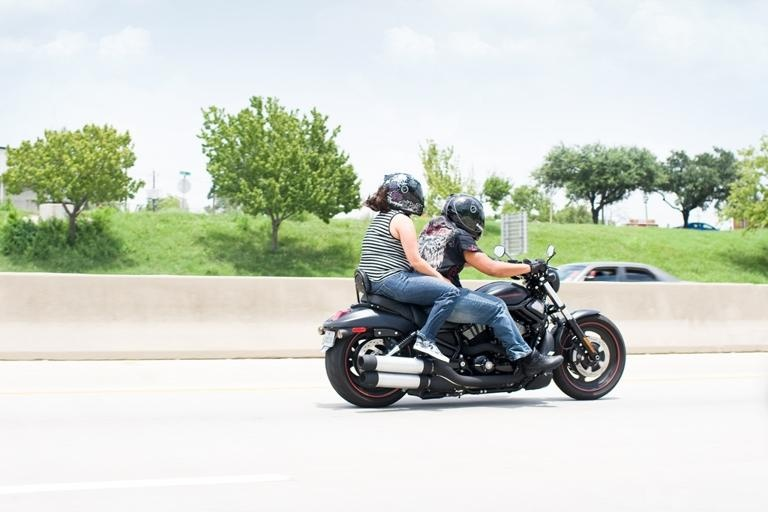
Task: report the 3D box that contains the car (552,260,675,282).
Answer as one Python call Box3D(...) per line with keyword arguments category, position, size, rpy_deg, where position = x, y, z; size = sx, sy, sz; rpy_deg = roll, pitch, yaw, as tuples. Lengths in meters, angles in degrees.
Box3D(category="car", position=(5.855, 0.350, 25.280), size=(2.248, 0.724, 1.041), rpy_deg=(-1, 3, -5))

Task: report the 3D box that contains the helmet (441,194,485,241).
Box3D(category="helmet", position=(1.041, -0.544, 12.352), size=(0.598, 0.604, 0.483), rpy_deg=(7, -7, -7))
